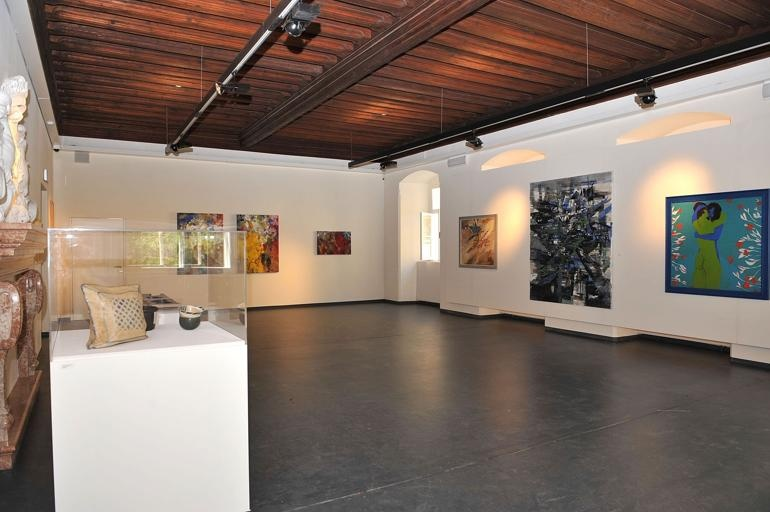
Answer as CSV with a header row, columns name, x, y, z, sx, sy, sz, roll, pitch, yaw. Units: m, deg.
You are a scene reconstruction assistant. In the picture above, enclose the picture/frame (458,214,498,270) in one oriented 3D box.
name,x,y,z,sx,sy,sz,roll,pitch,yaw
picture/frame,2.545,-0.438,13.178,0.364,1.478,1.382,-6,10,-27
